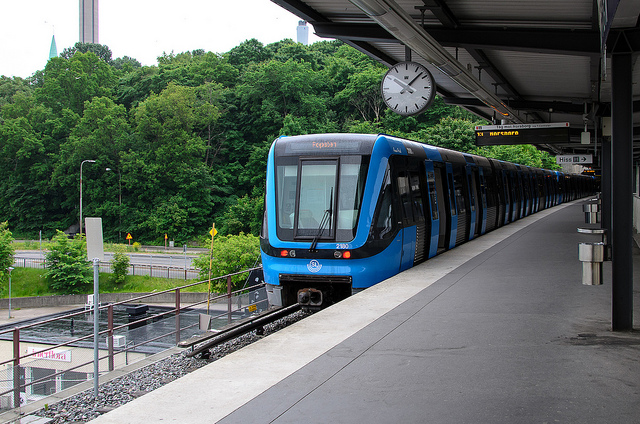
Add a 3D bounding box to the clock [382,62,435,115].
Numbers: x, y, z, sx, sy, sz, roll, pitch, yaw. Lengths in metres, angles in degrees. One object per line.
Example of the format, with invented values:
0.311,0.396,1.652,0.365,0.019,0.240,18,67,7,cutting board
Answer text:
2.328,-3.353,14.152,1.497,1.429,0.209,-5,13,-13,clock
